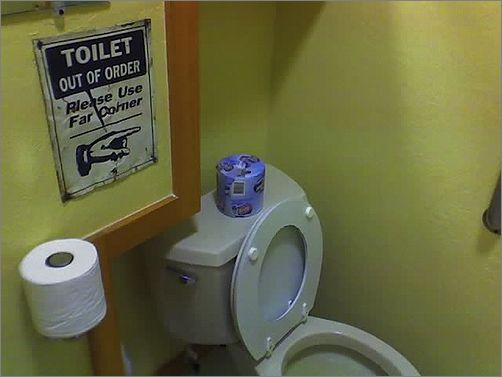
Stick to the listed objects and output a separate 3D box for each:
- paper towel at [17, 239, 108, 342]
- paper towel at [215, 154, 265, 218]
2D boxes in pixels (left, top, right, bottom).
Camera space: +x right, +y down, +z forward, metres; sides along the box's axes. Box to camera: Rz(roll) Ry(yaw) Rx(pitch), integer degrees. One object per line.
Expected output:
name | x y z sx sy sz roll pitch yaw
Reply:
paper towel | -0.382 0.206 0.911 0.144 0.157 0.124 -17 36 -29
paper towel | -0.030 -0.011 1.388 0.147 0.151 0.140 -24 40 -32
